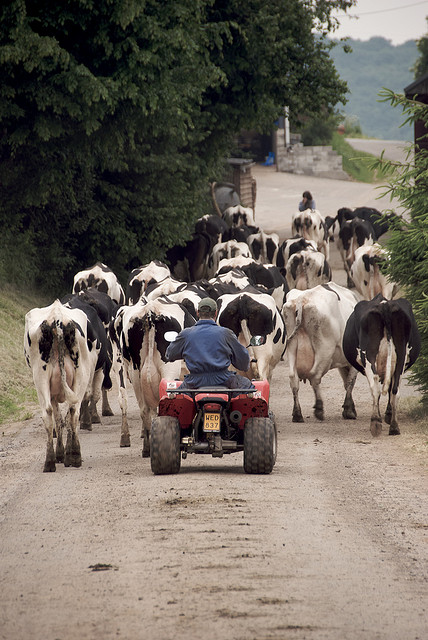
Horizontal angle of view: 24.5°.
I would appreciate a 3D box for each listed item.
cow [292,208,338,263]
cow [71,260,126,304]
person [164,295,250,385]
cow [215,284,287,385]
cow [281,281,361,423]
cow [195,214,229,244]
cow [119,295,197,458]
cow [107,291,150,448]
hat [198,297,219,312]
[{"bbox_3d":[3.358,-3.031,32.063,0.712,2.099,3.083,2,8,13],"label":"cow"},{"bbox_3d":[-2.237,-0.856,20.112,0.474,1.092,1.580,1,12,4],"label":"cow"},{"bbox_3d":[0.016,0.284,10.432,0.528,1.041,0.958,0,14,4],"label":"person"},{"bbox_3d":[0.831,0.343,15.062,0.702,1.685,2.440,-3,1,17],"label":"cow"},{"bbox_3d":[2.037,0.482,15.859,0.652,2.299,2.498,2,0,41],"label":"cow"},{"bbox_3d":[-0.003,-2.898,30.581,0.456,1.169,1.721,-1,5,17],"label":"cow"},{"bbox_3d":[-0.810,0.518,13.132,0.643,1.947,2.714,1,4,-2],"label":"cow"},{"bbox_3d":[-1.273,0.592,13.952,0.417,1.910,2.236,4,3,-19],"label":"cow"},{"bbox_3d":[-0.063,-0.160,10.252,0.182,0.135,0.299,-1,3,-1],"label":"hat"}]
